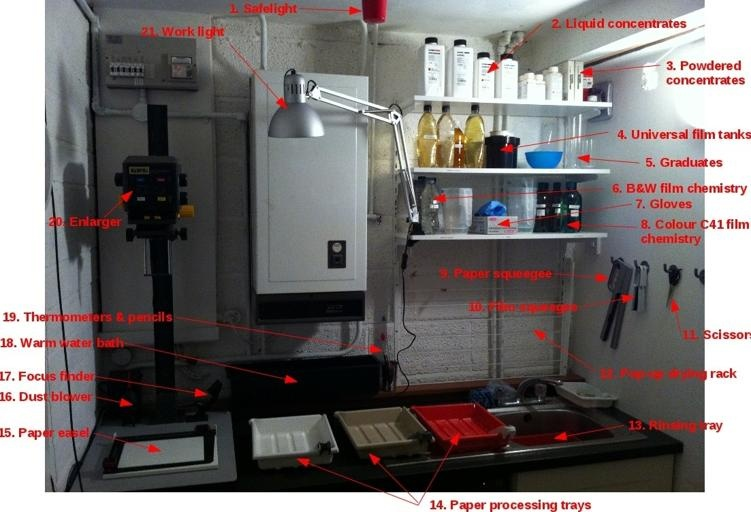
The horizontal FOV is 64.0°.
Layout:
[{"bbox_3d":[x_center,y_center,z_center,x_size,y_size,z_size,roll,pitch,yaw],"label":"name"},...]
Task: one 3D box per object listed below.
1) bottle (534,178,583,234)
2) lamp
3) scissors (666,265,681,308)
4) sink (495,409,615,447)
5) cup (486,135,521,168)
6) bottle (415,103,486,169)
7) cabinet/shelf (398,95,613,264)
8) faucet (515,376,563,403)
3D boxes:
[{"bbox_3d":[0.980,-0.270,3.269,0.348,0.293,0.113,1,1,-3],"label":"bottle"},{"bbox_3d":[-0.141,-0.477,2.902,0.778,0.775,0.268,-6,9,-32],"label":"lamp"},{"bbox_3d":[1.421,0.141,2.903,0.017,0.205,0.088,-6,9,-33],"label":"scissors"},{"bbox_3d":[0.843,0.962,3.411,0.458,0.194,0.570,-3,-14,7],"label":"sink"},{"bbox_3d":[0.647,-0.548,3.123,0.201,0.159,0.150,0,5,-10],"label":"cup"},{"bbox_3d":[0.387,-0.621,3.128,0.382,0.455,0.176,-1,3,-21],"label":"bottle"},{"bbox_3d":[0.612,-0.420,3.273,1.345,0.778,0.425,-4,0,-24],"label":"cabinet/shelf"},{"bbox_3d":[0.889,0.701,3.314,0.224,0.132,0.309,0,7,12],"label":"faucet"}]
